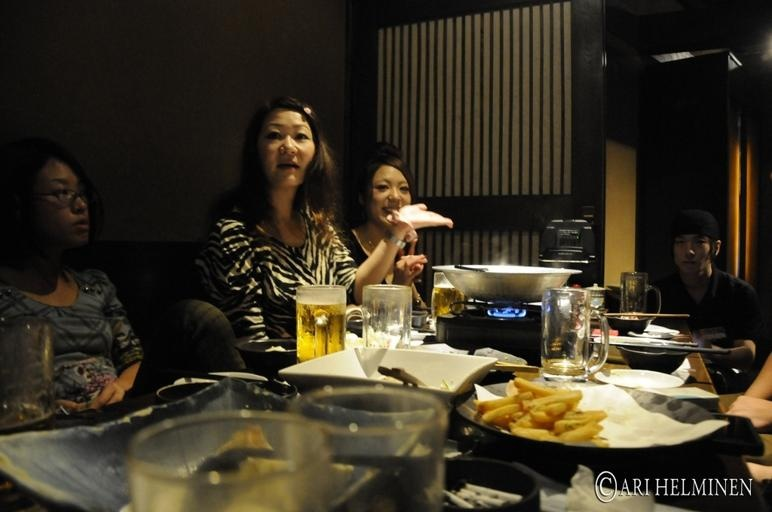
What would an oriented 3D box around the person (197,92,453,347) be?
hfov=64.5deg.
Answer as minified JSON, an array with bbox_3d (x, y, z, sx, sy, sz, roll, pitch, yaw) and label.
[{"bbox_3d":[-0.586,-0.137,3.896,1.341,1.400,0.924,4,3,-14],"label":"person"}]

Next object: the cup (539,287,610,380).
[{"bbox_3d":[0.611,0.244,2.013,0.180,0.307,0.201,4,4,14],"label":"cup"}]

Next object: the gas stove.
[{"bbox_3d":[0.385,0.268,2.414,0.411,0.169,0.495,0,3,16],"label":"gas stove"}]

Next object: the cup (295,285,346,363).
[{"bbox_3d":[-0.208,0.210,1.947,0.145,0.227,0.190,0,-2,24],"label":"cup"}]

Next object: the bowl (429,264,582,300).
[{"bbox_3d":[0.433,0.109,2.250,0.496,0.131,0.166,0,6,15],"label":"bowl"}]

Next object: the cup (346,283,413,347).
[{"bbox_3d":[-0.012,0.192,2.122,0.160,0.200,0.167,3,3,0],"label":"cup"}]

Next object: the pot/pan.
[{"bbox_3d":[0.630,0.441,1.759,0.611,0.176,0.685,4,0,17],"label":"pot/pan"}]

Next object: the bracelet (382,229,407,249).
[{"bbox_3d":[0.050,-0.093,3.431,0.102,0.036,0.095,7,40,-54],"label":"bracelet"}]
